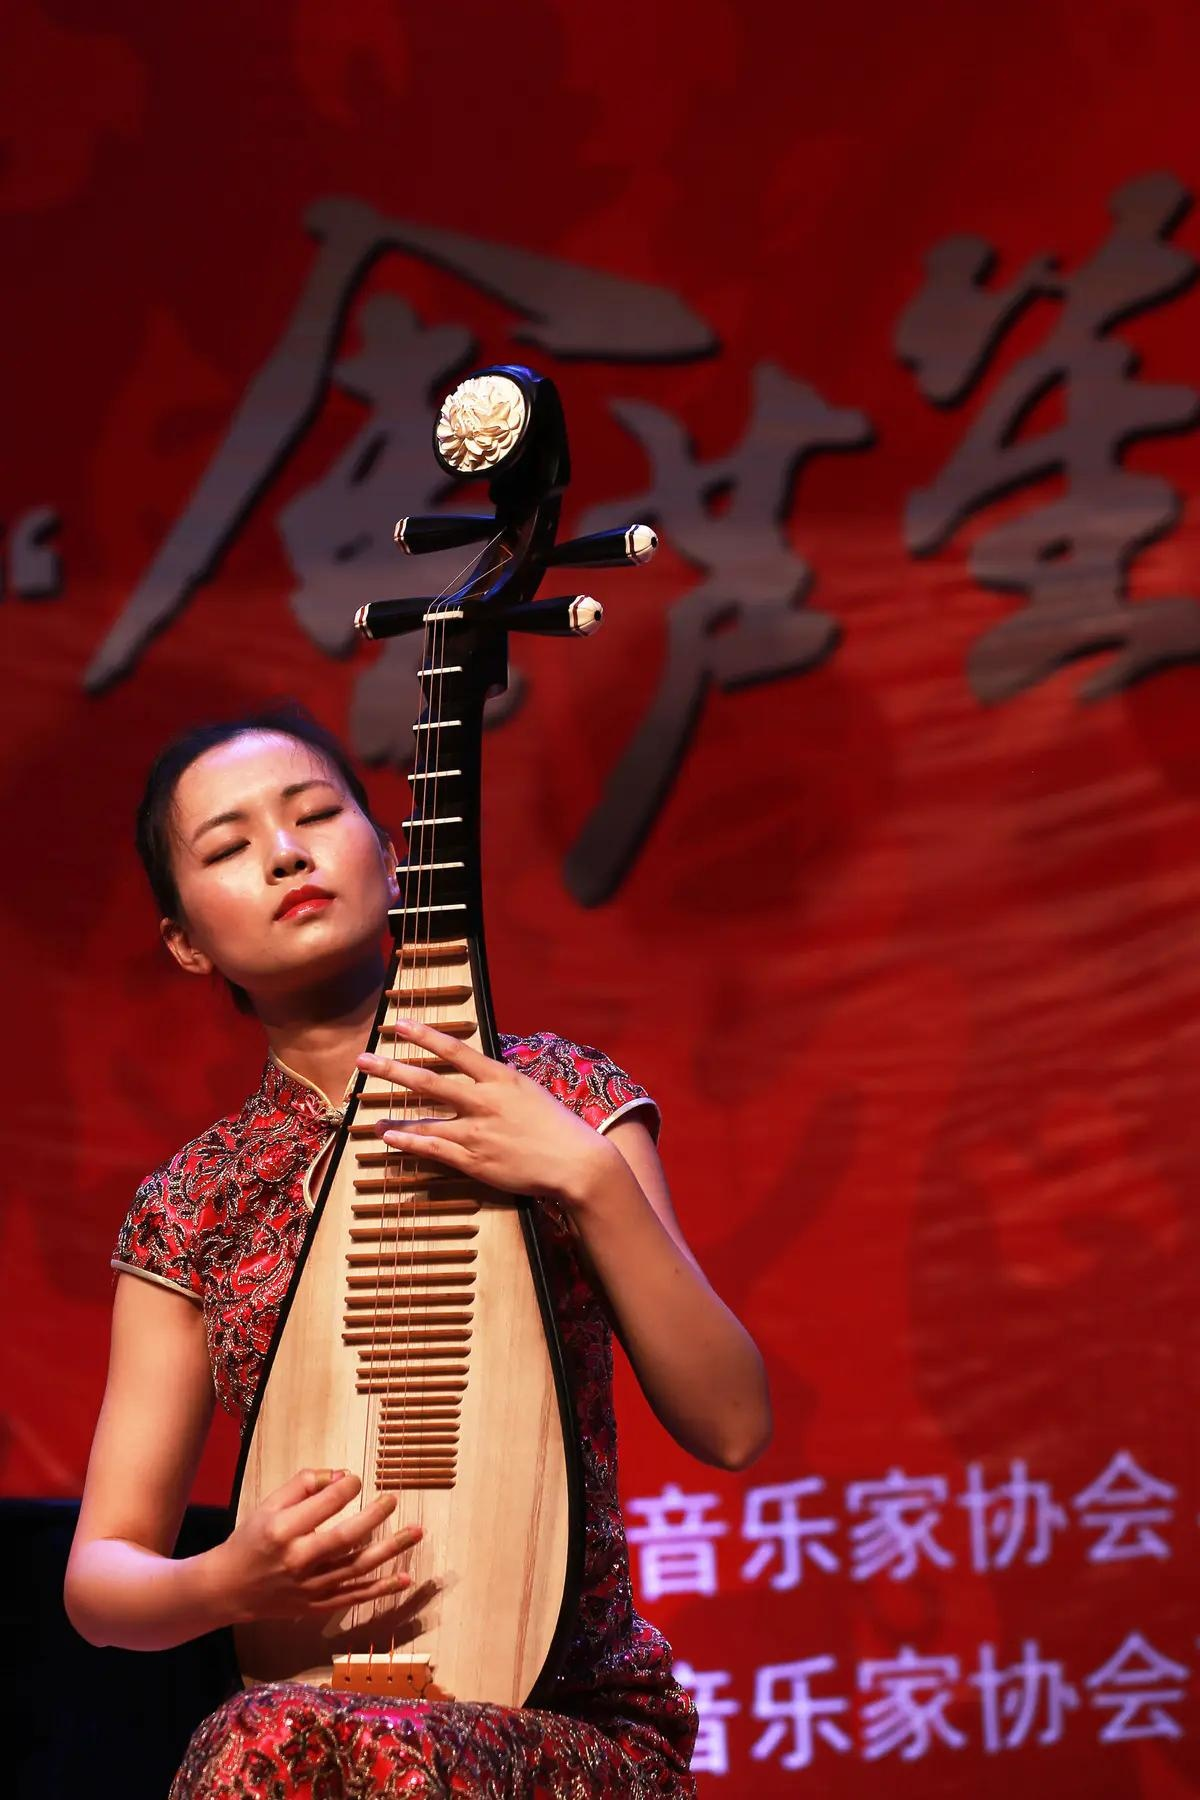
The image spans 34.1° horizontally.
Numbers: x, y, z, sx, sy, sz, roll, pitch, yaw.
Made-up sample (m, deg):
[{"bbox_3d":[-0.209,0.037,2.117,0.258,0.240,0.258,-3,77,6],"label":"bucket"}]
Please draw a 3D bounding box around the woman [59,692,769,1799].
[{"bbox_3d":[-0.126,0.235,1.358,0.500,0.208,0.754,-10,72,33],"label":"woman"}]

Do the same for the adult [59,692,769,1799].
[{"bbox_3d":[-0.117,0.203,1.379,0.500,0.208,0.754,-10,72,33],"label":"adult"}]
